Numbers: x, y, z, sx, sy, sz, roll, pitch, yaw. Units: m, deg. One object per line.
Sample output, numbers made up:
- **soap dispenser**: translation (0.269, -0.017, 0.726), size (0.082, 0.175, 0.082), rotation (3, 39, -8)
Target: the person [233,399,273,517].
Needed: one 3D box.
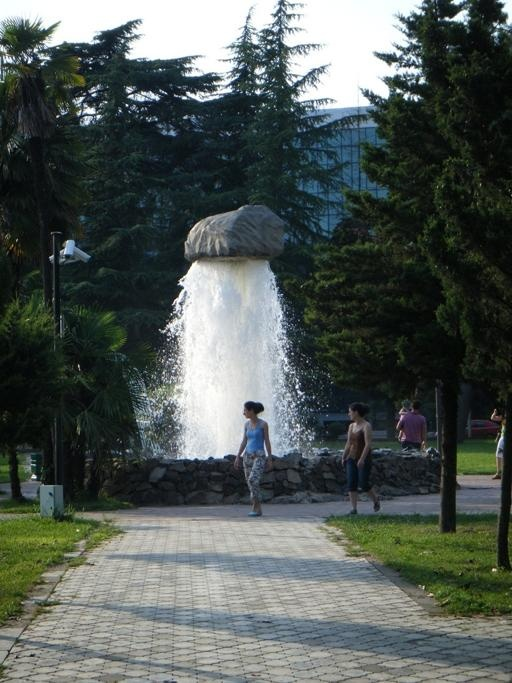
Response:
- **person**: translation (-0.052, 1.621, 13.140), size (0.470, 1.582, 0.786), rotation (0, -3, -1)

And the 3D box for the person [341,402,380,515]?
- **person**: translation (1.364, 1.562, 12.576), size (0.468, 1.484, 1.074), rotation (0, -3, 6)
